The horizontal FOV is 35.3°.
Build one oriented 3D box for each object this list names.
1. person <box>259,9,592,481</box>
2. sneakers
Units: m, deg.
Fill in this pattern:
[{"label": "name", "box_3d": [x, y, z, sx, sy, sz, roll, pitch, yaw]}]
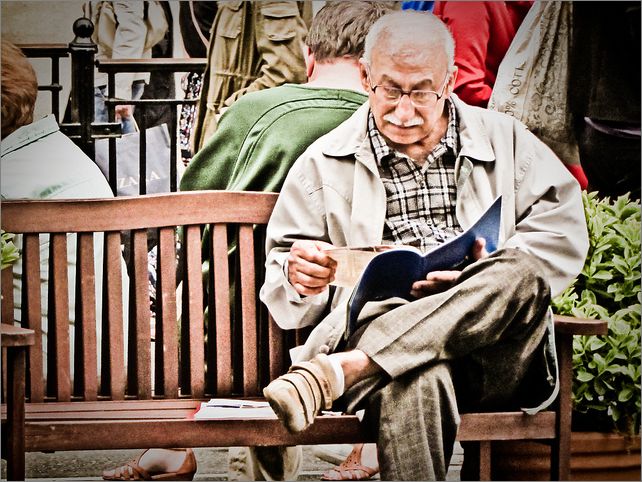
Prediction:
[{"label": "person", "box_3d": [0.451, -0.029, 4.004, 1.324, 1.807, 0.791, 5, 3, -4]}, {"label": "sneakers", "box_3d": [-0.048, 0.574, 3.811, 0.320, 0.198, 0.143, -32, -6, -30]}]
